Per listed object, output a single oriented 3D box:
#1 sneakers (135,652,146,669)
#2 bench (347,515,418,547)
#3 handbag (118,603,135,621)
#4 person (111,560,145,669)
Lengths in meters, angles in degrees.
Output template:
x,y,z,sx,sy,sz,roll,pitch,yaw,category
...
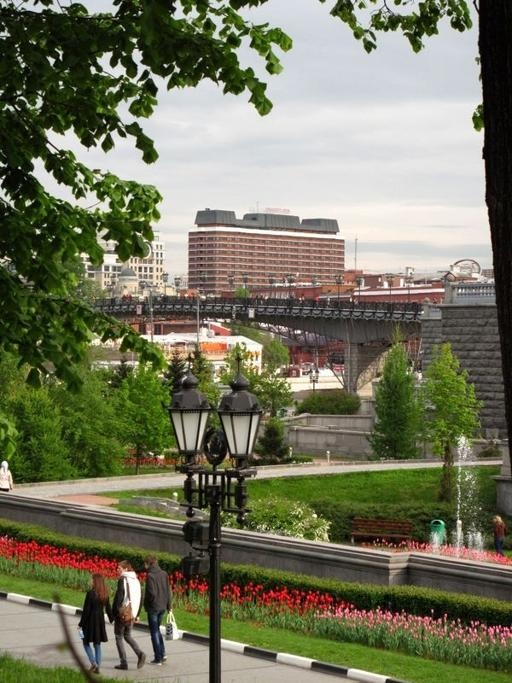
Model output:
x,y,z,sx,sy,sz,roll,pitch,yaw,category
-1.366,3.786,17.119,0.075,0.214,0.086,9,5,-29,sneakers
2.825,4.274,32.457,1.499,0.552,1.201,0,-3,17,bench
-1.535,3.240,17.123,0.200,0.229,0.073,3,-3,-43,handbag
-1.534,3.296,17.446,0.419,1.274,0.891,1,-2,-6,person
